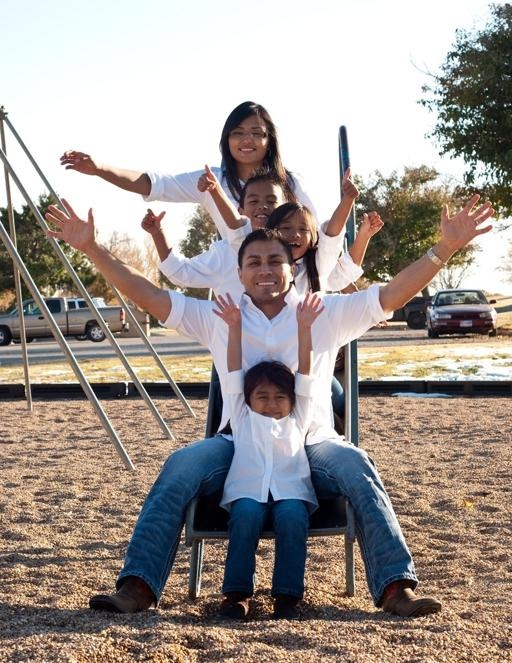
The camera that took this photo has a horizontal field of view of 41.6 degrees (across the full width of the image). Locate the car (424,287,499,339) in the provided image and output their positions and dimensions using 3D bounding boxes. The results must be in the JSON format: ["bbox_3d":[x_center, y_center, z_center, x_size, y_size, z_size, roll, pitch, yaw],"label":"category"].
[{"bbox_3d":[5.609,-0.483,19.037,1.153,0.762,2.126,-1,-6,0],"label":"car"}]

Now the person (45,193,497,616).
[{"bbox_3d":[0.051,0.286,2.558,1.810,1.358,0.953,4,1,-16],"label":"person"}]

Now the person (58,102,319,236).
[{"bbox_3d":[-0.181,-1.043,4.064,2.023,0.666,0.786,6,2,15],"label":"person"}]

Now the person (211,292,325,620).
[{"bbox_3d":[0.045,0.422,2.524,0.411,1.179,0.344,-1,-12,4],"label":"person"}]

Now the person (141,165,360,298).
[{"bbox_3d":[-0.012,-0.429,3.421,0.806,0.386,0.875,-3,-4,1],"label":"person"}]

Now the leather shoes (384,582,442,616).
[{"bbox_3d":[0.505,0.867,2.197,0.133,0.100,0.212,4,-12,-18],"label":"leather shoes"}]

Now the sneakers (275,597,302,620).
[{"bbox_3d":[0.102,0.926,2.273,0.086,0.068,0.141,0,-11,1],"label":"sneakers"}]

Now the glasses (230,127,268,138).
[{"bbox_3d":[-0.032,-1.180,4.038,0.094,0.041,0.117,3,8,19],"label":"glasses"}]

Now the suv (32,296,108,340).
[{"bbox_3d":[-7.067,-0.409,24.959,3.968,1.405,1.771,1,0,-6],"label":"suv"}]
